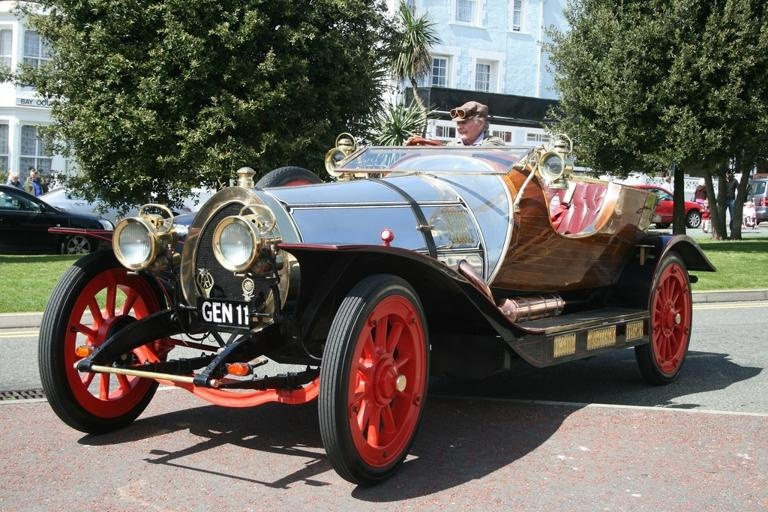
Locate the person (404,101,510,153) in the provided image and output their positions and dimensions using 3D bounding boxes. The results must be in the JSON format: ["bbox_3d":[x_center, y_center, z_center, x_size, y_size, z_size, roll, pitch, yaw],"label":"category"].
[{"bbox_3d":[0.887,-1.380,7.590,0.750,0.187,0.827,0,0,30],"label":"person"}]

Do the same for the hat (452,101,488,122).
[{"bbox_3d":[0.896,-1.577,7.579,0.321,0.132,0.217,3,-4,-40],"label":"hat"}]

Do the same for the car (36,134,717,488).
[{"bbox_3d":[0.219,0.240,6.082,5.127,2.373,1.934,-5,11,-35],"label":"car"}]
